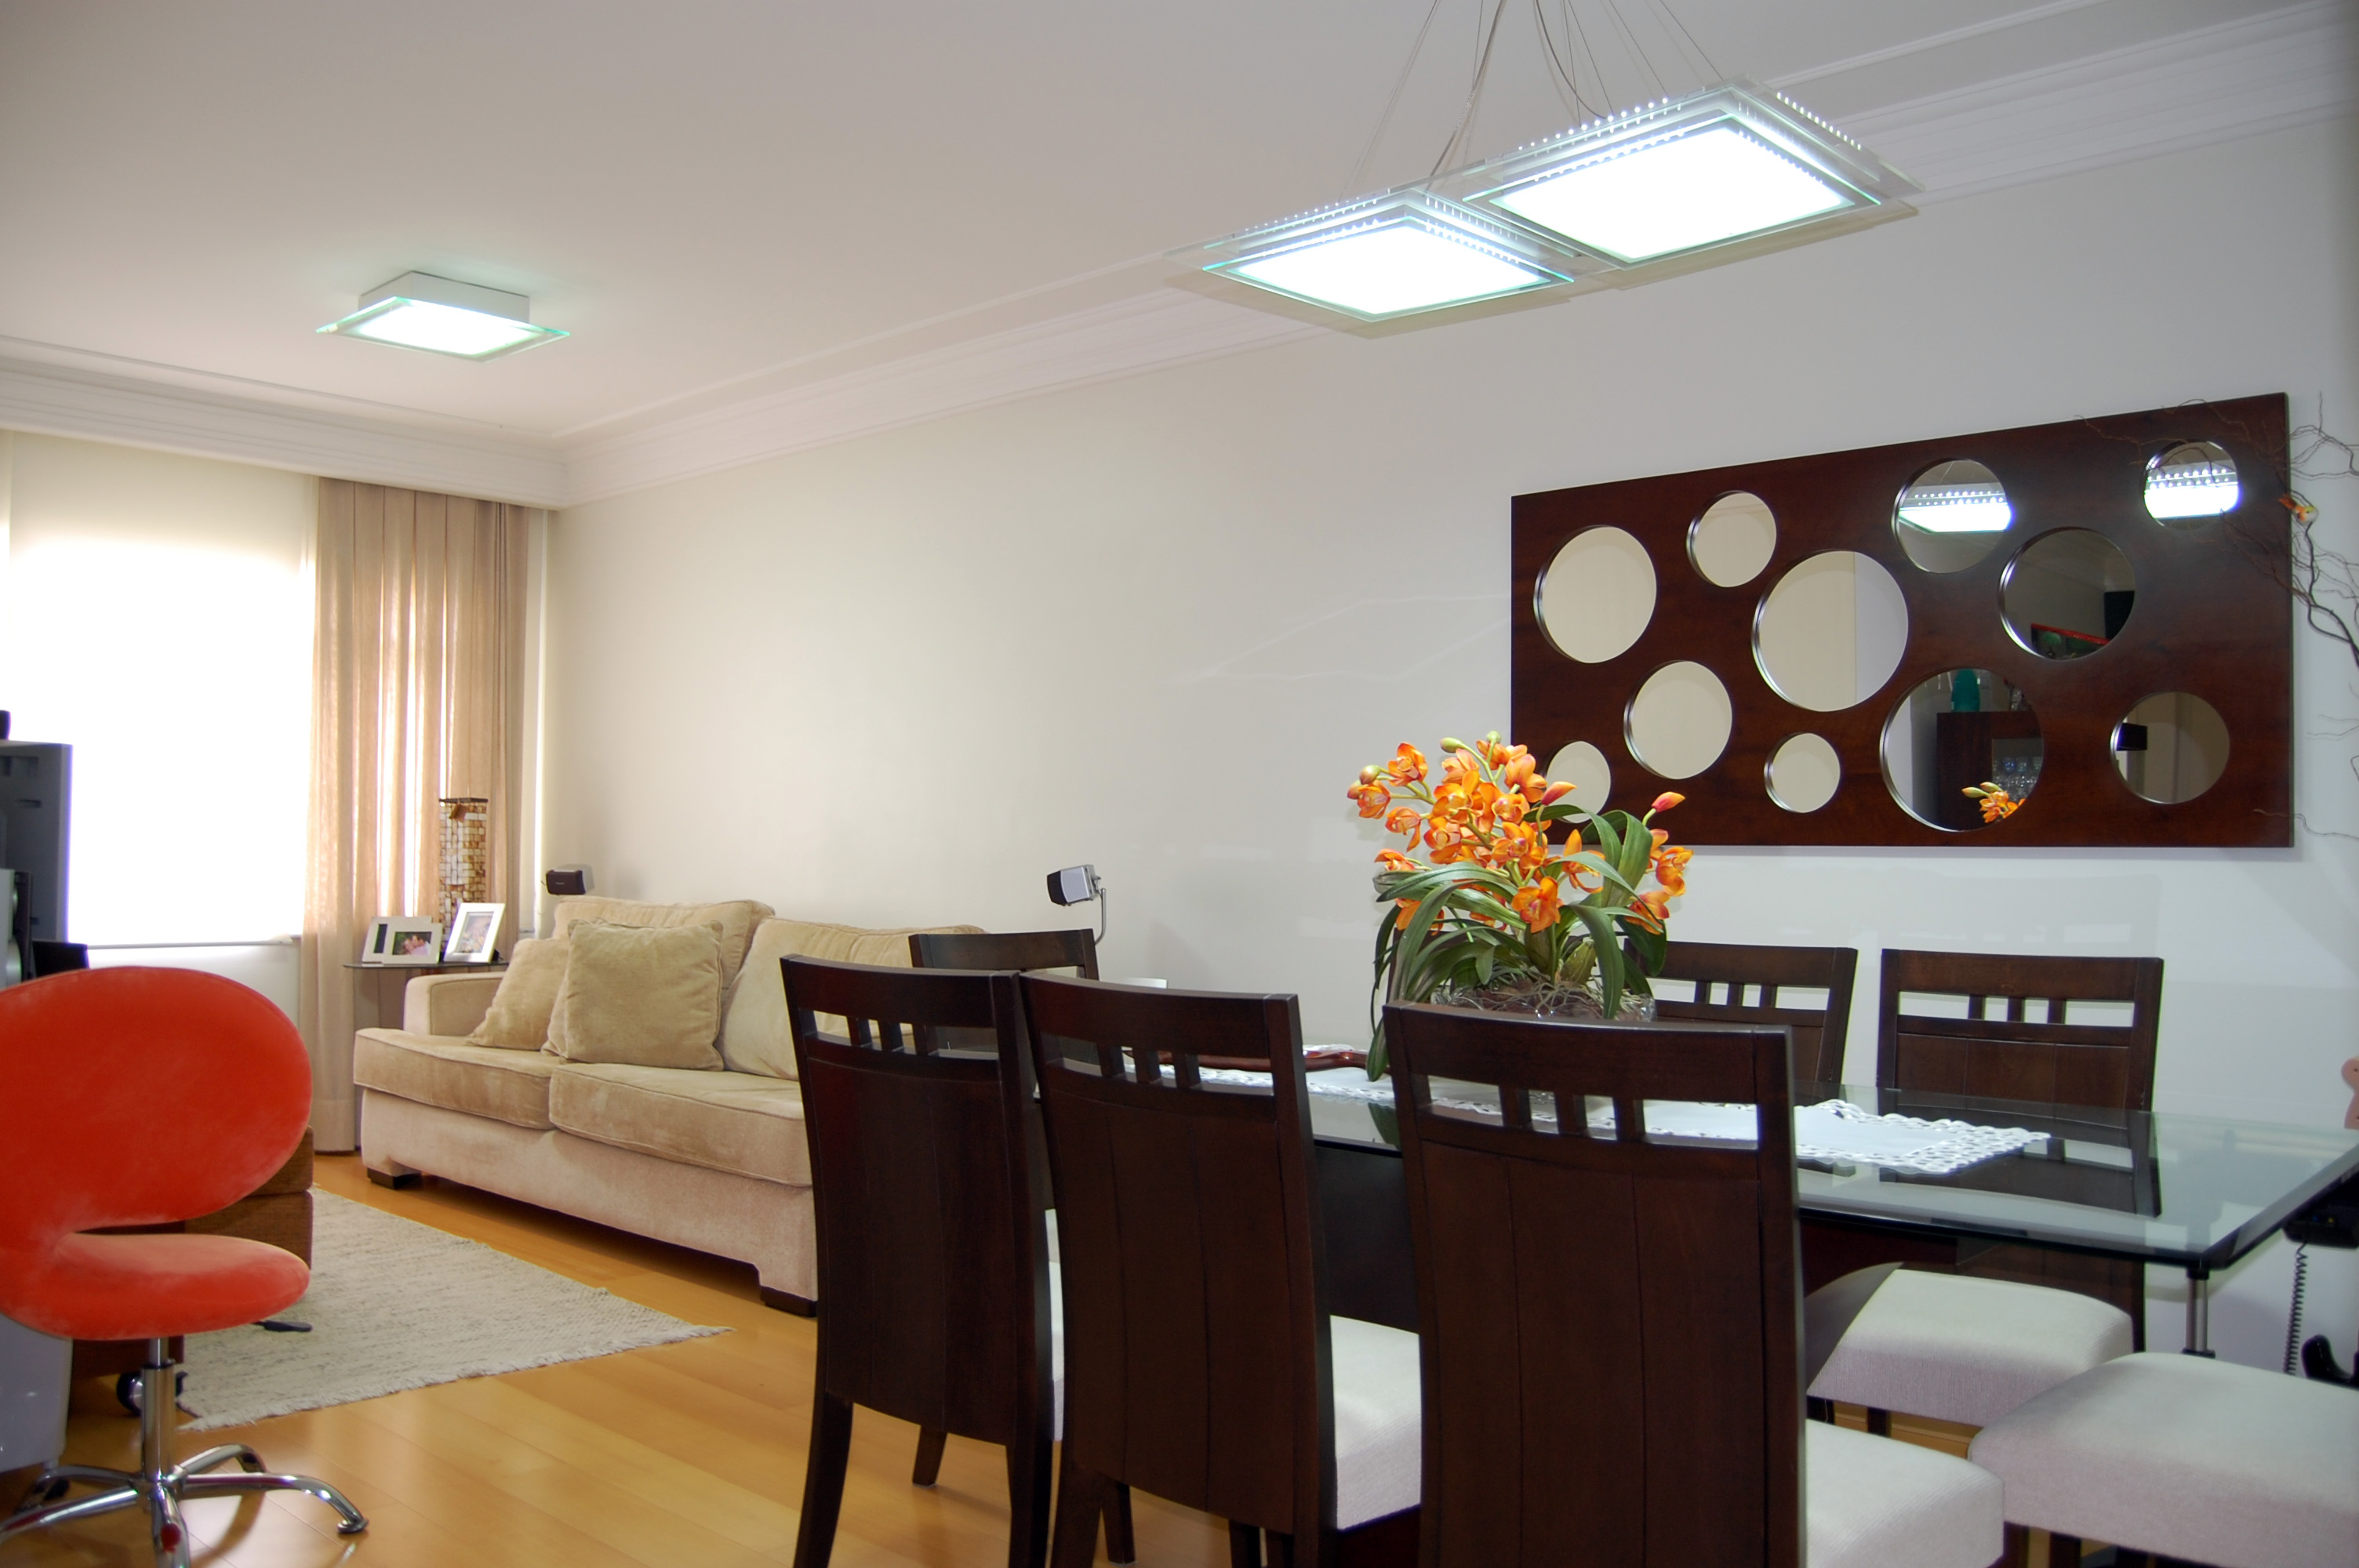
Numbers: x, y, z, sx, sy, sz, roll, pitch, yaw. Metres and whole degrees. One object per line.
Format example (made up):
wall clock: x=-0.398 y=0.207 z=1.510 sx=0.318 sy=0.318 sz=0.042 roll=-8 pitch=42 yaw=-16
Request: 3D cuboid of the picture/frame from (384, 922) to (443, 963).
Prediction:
picture/frame: x=-3.556 y=0.730 z=7.062 sx=0.175 sy=0.174 sz=0.018 roll=5 pitch=-22 yaw=-23

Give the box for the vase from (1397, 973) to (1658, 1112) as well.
vase: x=0.660 y=0.441 z=2.789 sx=0.279 sy=0.112 sz=0.339 roll=1 pitch=-3 yaw=-20

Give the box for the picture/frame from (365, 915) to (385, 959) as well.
picture/frame: x=-3.724 y=0.709 z=7.062 sx=0.140 sy=0.146 sz=0.043 roll=1 pitch=-5 yaw=29

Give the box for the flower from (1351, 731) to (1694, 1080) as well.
flower: x=0.666 y=0.235 z=3.155 sx=0.787 sy=0.747 sz=0.661 roll=4 pitch=-5 yaw=-20

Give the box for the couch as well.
couch: x=-2.051 y=1.148 z=6.141 sx=2.754 sy=1.305 sz=1.138 roll=0 pitch=-6 yaw=35

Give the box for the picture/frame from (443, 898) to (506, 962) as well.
picture/frame: x=-3.297 y=0.670 z=7.100 sx=0.307 sy=0.356 sz=0.026 roll=1 pitch=-18 yaw=1

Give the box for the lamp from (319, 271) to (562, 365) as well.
lamp: x=-2.665 y=-1.702 z=5.533 sx=0.688 sy=0.195 sz=0.486 roll=0 pitch=2 yaw=-25
